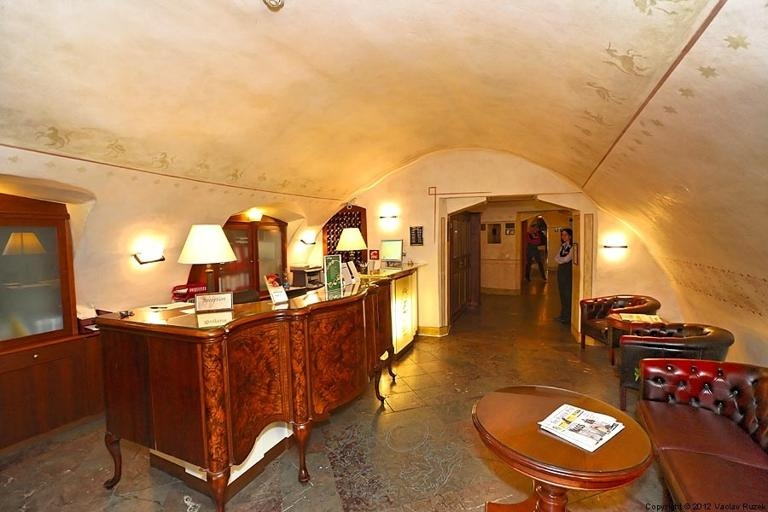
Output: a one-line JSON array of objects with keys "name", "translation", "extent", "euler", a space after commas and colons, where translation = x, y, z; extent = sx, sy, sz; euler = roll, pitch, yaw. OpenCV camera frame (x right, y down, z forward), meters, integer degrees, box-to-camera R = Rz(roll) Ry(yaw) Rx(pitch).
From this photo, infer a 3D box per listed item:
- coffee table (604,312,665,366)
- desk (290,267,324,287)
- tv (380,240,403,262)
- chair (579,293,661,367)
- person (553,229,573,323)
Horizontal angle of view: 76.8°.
[{"name": "coffee table", "translation": [3.380, 1.226, 6.690], "extent": [0.827, 0.842, 0.852], "euler": [0, -1, 26]}, {"name": "desk", "translation": [-1.379, 0.362, 8.641], "extent": [0.415, 0.314, 0.490], "euler": [-1, -1, 18]}, {"name": "tv", "translation": [0.142, -0.088, 8.681], "extent": [0.411, 0.356, 0.057], "euler": [0, -5, 29]}, {"name": "chair", "translation": [3.801, 1.124, 7.569], "extent": [1.097, 0.889, 1.056], "euler": [0, 0, -20]}, {"name": "person", "translation": [3.514, 0.391, 9.418], "extent": [0.289, 1.853, 1.097], "euler": [0, 2, 20]}]
